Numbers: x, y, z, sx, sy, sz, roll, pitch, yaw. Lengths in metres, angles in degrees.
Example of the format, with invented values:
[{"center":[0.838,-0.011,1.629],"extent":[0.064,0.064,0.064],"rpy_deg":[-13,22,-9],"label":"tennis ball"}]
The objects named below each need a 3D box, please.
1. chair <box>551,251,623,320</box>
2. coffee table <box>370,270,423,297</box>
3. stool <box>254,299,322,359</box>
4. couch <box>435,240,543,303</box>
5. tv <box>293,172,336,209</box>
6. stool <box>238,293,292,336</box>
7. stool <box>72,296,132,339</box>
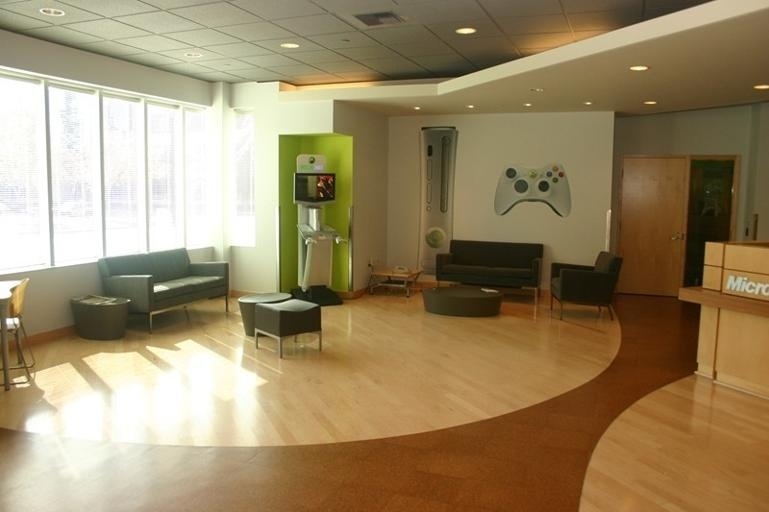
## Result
[{"center":[3.712,0.486,10.098],"extent":[1.353,1.322,1.182],"rpy_deg":[1,3,10],"label":"chair"},{"center":[0.194,0.509,11.783],"extent":[0.753,0.341,0.715],"rpy_deg":[1,4,18],"label":"coffee table"},{"center":[-1.447,0.977,7.978],"extent":[0.831,0.736,0.792],"rpy_deg":[-5,7,-41],"label":"stool"},{"center":[2.225,0.254,11.248],"extent":[2.071,1.100,0.930],"rpy_deg":[3,4,24],"label":"couch"},{"center":[-1.387,-1.248,10.551],"extent":[1.106,0.814,0.560],"rpy_deg":[-1,0,-17],"label":"tv"},{"center":[-1.961,0.846,8.371],"extent":[0.697,0.435,0.692],"rpy_deg":[-1,1,-4],"label":"stool"},{"center":[-4.381,0.955,8.448],"extent":[0.781,0.509,0.589],"rpy_deg":[1,2,8],"label":"stool"}]
